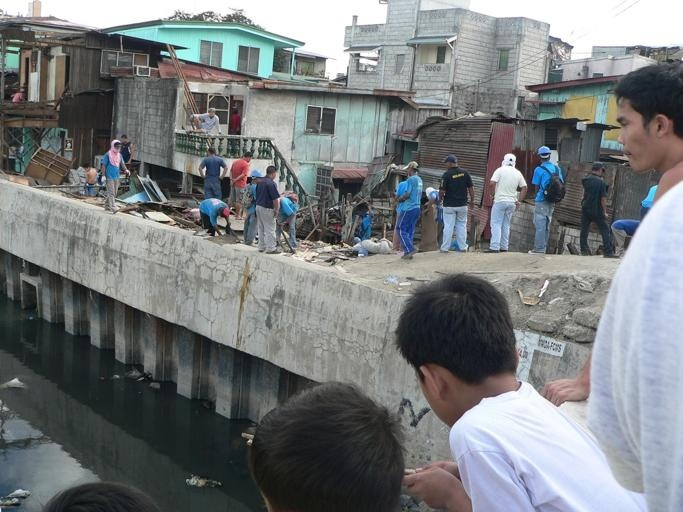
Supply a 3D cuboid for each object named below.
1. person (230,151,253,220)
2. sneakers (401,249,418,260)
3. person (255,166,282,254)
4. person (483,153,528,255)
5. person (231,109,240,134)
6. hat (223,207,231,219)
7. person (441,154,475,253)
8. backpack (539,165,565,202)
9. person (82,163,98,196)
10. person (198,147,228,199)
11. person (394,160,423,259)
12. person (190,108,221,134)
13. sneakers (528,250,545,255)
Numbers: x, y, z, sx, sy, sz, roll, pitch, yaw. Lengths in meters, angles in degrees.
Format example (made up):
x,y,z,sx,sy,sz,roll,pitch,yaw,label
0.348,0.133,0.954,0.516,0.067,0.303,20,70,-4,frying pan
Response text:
x,y,z,sx,sy,sz,roll,pitch,yaw,label
-2.272,-1.629,15.153,0.496,1.507,0.584,16,10,37,person
1.116,-0.039,10.768,0.217,0.169,0.346,6,8,7,sneakers
-1.107,-0.720,10.233,0.410,1.346,0.500,-3,9,-41,person
2.737,-0.871,10.899,0.590,1.608,0.849,7,8,23,person
-3.358,-4.255,21.094,0.352,0.739,0.810,3,8,-10,person
-1.882,-0.706,10.876,0.108,0.088,0.159,3,26,-15,hat
1.977,-0.876,11.253,0.555,1.642,0.745,6,8,12,person
3.431,-1.142,10.746,0.382,0.542,0.515,-10,17,-38,backpack
-6.764,-2.022,17.894,0.361,0.691,2.655,1,8,-21,person
-2.910,-1.749,14.988,0.563,1.508,0.400,2,24,-11,person
1.115,-0.660,10.871,0.385,1.339,0.559,5,7,5,person
-4.076,-4.019,19.893,0.851,0.762,1.960,3,8,-13,person
3.175,-0.057,10.621,0.227,0.109,0.080,7,9,29,sneakers
